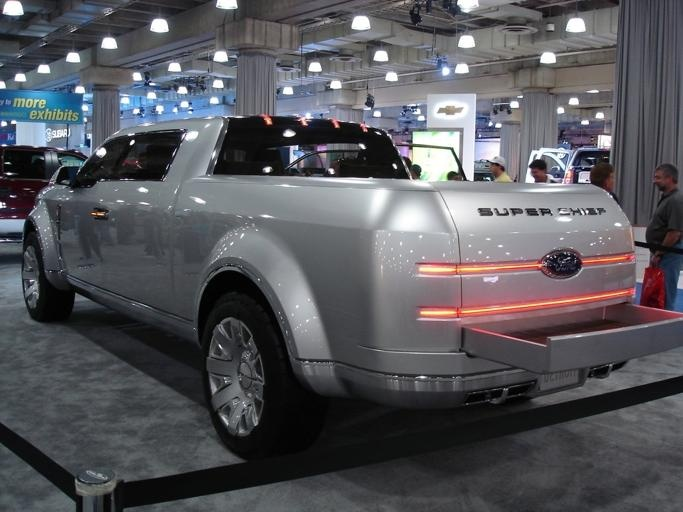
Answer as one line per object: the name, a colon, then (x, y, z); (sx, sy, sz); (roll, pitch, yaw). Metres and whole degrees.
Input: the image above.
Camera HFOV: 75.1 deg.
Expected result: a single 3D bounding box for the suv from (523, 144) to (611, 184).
suv: (8.482, -3.236, 16.525); (2.615, 1.376, 2.922); (-1, 11, 8)
